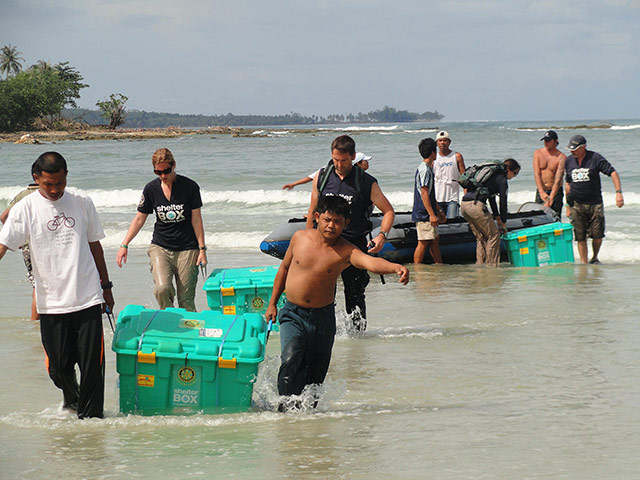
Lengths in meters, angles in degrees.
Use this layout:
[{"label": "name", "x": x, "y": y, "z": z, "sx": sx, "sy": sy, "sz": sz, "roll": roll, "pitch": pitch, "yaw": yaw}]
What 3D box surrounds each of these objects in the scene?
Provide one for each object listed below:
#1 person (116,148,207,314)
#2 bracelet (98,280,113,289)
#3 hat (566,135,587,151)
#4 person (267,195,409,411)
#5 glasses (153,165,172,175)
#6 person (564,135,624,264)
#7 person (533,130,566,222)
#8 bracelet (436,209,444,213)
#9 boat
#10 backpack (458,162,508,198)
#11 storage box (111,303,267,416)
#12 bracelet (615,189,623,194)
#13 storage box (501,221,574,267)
[{"label": "person", "x": -1.470, "y": -0.093, "z": 9.344, "sx": 0.612, "sy": 1.602, "sz": 0.576, "roll": -5, "pitch": 16, "yaw": -12}, {"label": "bracelet", "x": -1.795, "y": 0.366, "z": 7.800, "sx": 0.180, "sy": 0.084, "sz": 0.215, "roll": 0, "pitch": -2, "yaw": -8}, {"label": "hat", "x": 3.467, "y": -1.301, "z": 12.603, "sx": 0.198, "sy": 0.140, "sz": 0.301, "roll": 13, "pitch": 21, "yaw": 40}, {"label": "person", "x": 0.020, "y": 0.487, "z": 7.953, "sx": 0.966, "sy": 1.736, "sz": 0.586, "roll": -3, "pitch": 15, "yaw": -4}, {"label": "glasses", "x": -1.545, "y": -0.675, "z": 9.261, "sx": 0.162, "sy": 0.092, "sz": 0.117, "roll": -4, "pitch": 14, "yaw": -10}, {"label": "person", "x": 3.700, "y": -0.525, "z": 12.880, "sx": 0.663, "sy": 1.864, "sz": 0.562, "roll": 2, "pitch": 16, "yaw": 13}, {"label": "person", "x": 3.317, "y": -0.944, "z": 13.537, "sx": 0.437, "sy": 1.316, "sz": 0.698, "roll": 2, "pitch": 15, "yaw": 13}, {"label": "bracelet", "x": 1.608, "y": -0.390, "z": 12.553, "sx": 0.090, "sy": 0.043, "sz": 0.112, "roll": 14, "pitch": 6, "yaw": -2}, {"label": "boat", "x": 1.650, "y": -0.030, "z": 13.605, "sx": 5.122, "sy": 0.864, "sz": 1.372, "roll": -5, "pitch": 16, "yaw": -16}, {"label": "backpack", "x": 2.119, "y": -0.806, "z": 12.522, "sx": 0.580, "sy": 0.475, "sz": 0.453, "roll": 11, "pitch": -3, "yaw": -1}, {"label": "storage box", "x": -1.112, "y": 1.029, "z": 8.056, "sx": 1.289, "sy": 0.657, "sz": 0.865, "roll": 4, "pitch": 18, "yaw": 0}, {"label": "bracelet", "x": 4.090, "y": -0.653, "z": 12.811, "sx": 0.135, "sy": 0.056, "sz": 0.133, "roll": 0, "pitch": -2, "yaw": -2}, {"label": "storage box", "x": 3.082, "y": 0.069, "z": 13.109, "sx": 0.908, "sy": 0.469, "sz": 0.576, "roll": -10, "pitch": 6, "yaw": -4}]
